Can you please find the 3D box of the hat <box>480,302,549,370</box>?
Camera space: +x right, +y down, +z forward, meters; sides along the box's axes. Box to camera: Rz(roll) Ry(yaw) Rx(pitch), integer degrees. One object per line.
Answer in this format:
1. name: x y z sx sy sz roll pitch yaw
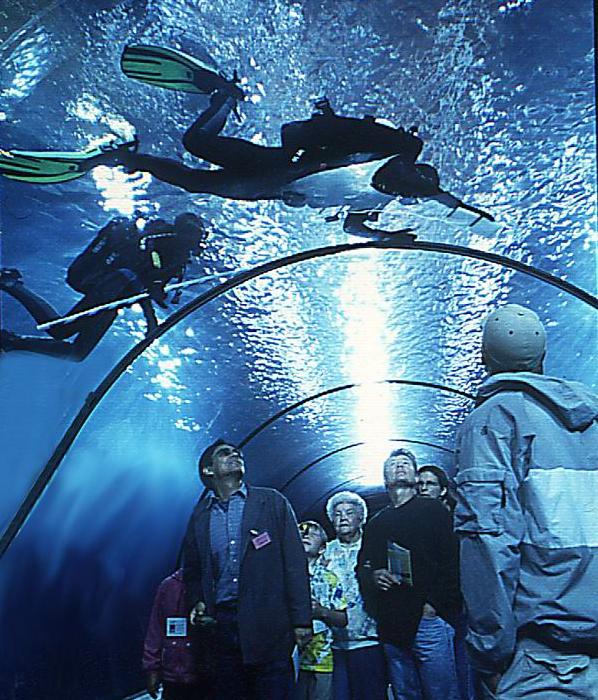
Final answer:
1. hat: 0.686 -0.051 2.548 0.225 0.231 0.204 5 -64 7
